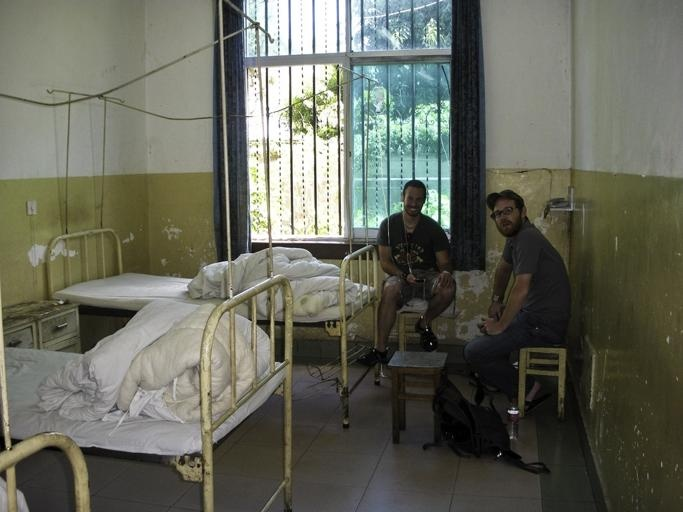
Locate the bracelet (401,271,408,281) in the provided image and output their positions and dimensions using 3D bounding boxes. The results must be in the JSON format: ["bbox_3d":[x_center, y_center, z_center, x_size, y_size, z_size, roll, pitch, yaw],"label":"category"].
[{"bbox_3d":[0.504,0.166,4.604,0.038,0.070,0.057,1,7,1],"label":"bracelet"}]

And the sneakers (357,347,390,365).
[{"bbox_3d":[0.256,0.792,4.463,0.233,0.121,0.123,-1,3,-14],"label":"sneakers"}]

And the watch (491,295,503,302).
[{"bbox_3d":[1.162,0.327,4.268,0.041,0.032,0.060,2,39,4],"label":"watch"}]

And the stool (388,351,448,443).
[{"bbox_3d":[0.471,0.919,3.641,0.381,0.486,0.358,5,-16,-9],"label":"stool"}]

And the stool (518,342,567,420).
[{"bbox_3d":[1.371,0.896,3.897,0.392,0.488,0.420,9,-16,-3],"label":"stool"}]

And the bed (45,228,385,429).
[{"bbox_3d":[-0.882,0.196,4.465,2.209,1.358,1.246,6,14,18],"label":"bed"}]

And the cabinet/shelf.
[{"bbox_3d":[-2.053,0.493,3.918,0.293,0.465,0.458,4,9,16],"label":"cabinet/shelf"}]

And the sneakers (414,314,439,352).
[{"bbox_3d":[0.683,0.634,4.680,0.128,0.340,0.133,-18,-5,4],"label":"sneakers"}]

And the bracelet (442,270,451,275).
[{"bbox_3d":[0.836,0.142,4.556,0.067,0.032,0.116,1,11,11],"label":"bracelet"}]
